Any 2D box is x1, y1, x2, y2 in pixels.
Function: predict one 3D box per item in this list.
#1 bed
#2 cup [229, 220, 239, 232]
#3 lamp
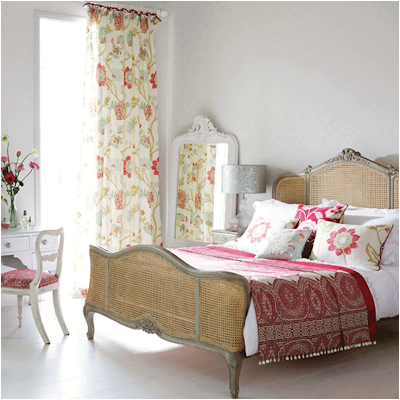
[{"bbox_3d":[0.374,0.472,2.707,1.968,1.325,1.457,1,0,-38],"label":"bed"},{"bbox_3d":[0.335,0.253,3.765,0.101,0.122,0.104,1,-2,0],"label":"cup"},{"bbox_3d":[0.427,-0.076,3.863,0.452,0.511,0.439,0,0,-39],"label":"lamp"}]
